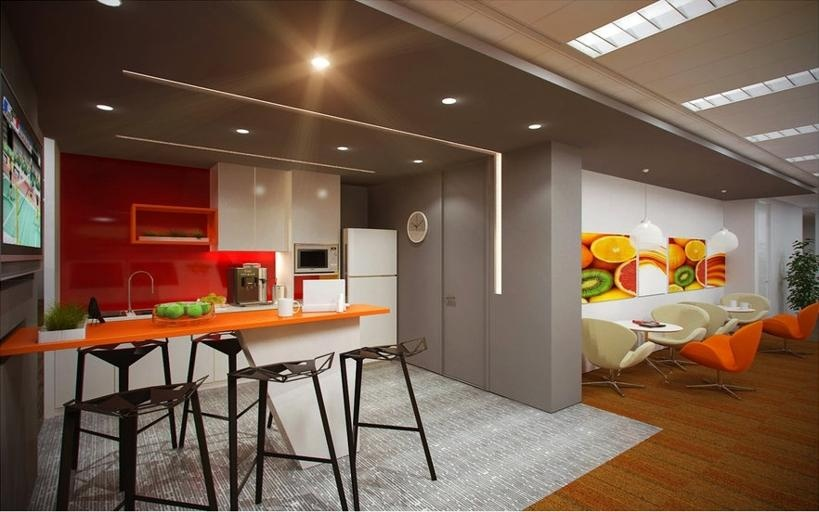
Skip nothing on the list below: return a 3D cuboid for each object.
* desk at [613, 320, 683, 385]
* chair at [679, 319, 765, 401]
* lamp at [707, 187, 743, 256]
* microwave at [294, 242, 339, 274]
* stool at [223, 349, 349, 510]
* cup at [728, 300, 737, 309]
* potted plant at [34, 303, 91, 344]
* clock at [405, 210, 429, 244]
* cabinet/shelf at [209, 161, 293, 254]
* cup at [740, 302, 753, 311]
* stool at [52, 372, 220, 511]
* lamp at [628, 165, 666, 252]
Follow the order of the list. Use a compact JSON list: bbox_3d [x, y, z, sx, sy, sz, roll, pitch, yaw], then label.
[{"bbox_3d":[3.580,1.538,7.405,1.088,0.793,1.120,1,-1,34],"label":"desk"},{"bbox_3d":[4.579,1.382,7.009,1.181,1.273,1.190,1,-3,-35],"label":"chair"},{"bbox_3d":[6.048,-0.603,9.207,0.559,1.234,2.631,0,1,34],"label":"lamp"},{"bbox_3d":[-1.476,0.059,7.532,0.830,0.495,0.440,1,-2,-44],"label":"microwave"},{"bbox_3d":[-1.277,1.918,5.569,1.489,2.293,1.438,4,-10,-15],"label":"stool"},{"bbox_3d":[6.087,0.918,8.929,0.133,0.185,0.211,-2,-5,19],"label":"cup"},{"bbox_3d":[-3.243,0.613,4.419,0.404,0.340,0.381,2,-1,-35],"label":"potted plant"},{"bbox_3d":[0.132,-0.453,7.735,0.046,0.548,0.576,2,-3,-35],"label":"clock"},{"bbox_3d":[-2.421,-0.726,7.084,1.300,1.430,0.495,5,-6,-38],"label":"cabinet/shelf"},{"bbox_3d":[6.359,0.974,9.007,0.171,0.146,0.103,-2,-4,19],"label":"cup"},{"bbox_3d":[-2.355,1.773,4.229,1.188,1.188,0.594,-1,1,-1],"label":"stool"},{"bbox_3d":[3.923,-0.704,7.889,0.512,1.281,1.968,-1,1,28],"label":"lamp"}]
